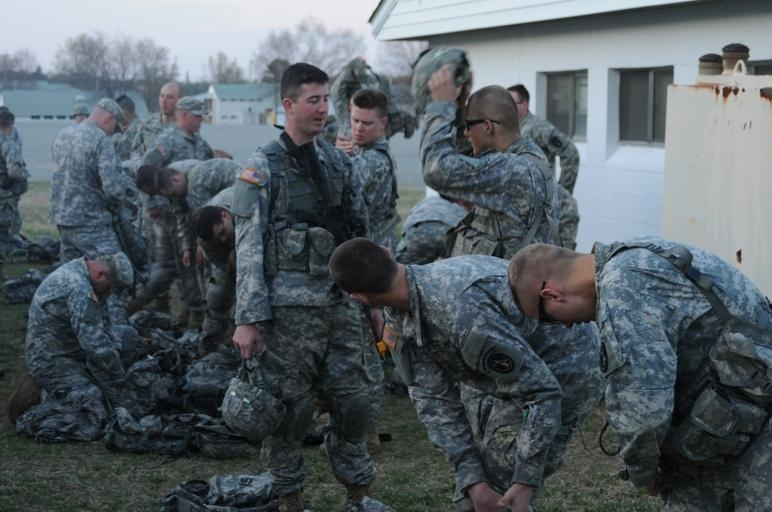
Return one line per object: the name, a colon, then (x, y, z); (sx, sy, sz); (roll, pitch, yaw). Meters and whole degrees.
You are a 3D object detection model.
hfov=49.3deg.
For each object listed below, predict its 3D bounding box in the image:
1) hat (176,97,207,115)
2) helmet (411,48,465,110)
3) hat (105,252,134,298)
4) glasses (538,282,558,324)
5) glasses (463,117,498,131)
hat: (-2.455, -1.932, 10.852); (0.245, 0.138, 0.347); (6, 5, 25)
helmet: (0.376, -1.315, 6.288); (0.483, 0.462, 0.360); (-4, 3, 9)
hat: (-2.849, 0.145, 9.161); (0.320, 0.576, 0.409); (-2, 28, -15)
glasses: (0.959, 0.279, 4.998); (0.159, 0.210, 0.086); (5, 10, 26)
glasses: (0.714, -0.982, 6.230); (0.266, 0.078, 0.044); (4, 10, 22)
